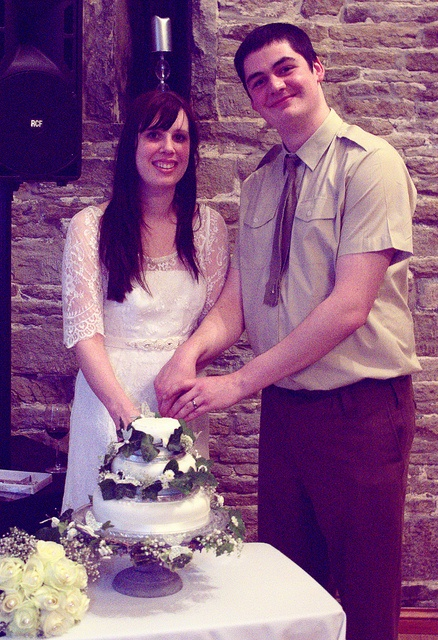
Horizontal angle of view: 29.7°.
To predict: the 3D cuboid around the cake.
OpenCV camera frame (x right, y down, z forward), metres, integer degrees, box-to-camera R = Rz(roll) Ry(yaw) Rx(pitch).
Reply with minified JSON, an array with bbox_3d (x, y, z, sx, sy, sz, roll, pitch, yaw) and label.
[{"bbox_3d":[-0.129,0.290,1.699,0.224,0.157,0.207,-4,11,-22],"label":"cake"}]
